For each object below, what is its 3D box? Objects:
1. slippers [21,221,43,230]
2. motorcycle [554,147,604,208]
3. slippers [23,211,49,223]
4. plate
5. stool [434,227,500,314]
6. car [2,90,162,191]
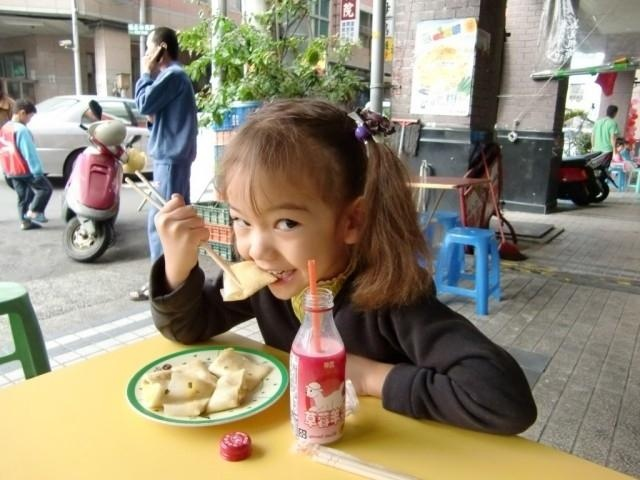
[{"bbox_3d":[-3.737,-0.185,5.830,0.202,0.078,0.104,-7,16,-32],"label":"slippers"},{"bbox_3d":[5.490,-1.259,9.558,0.854,1.743,0.929,6,12,44],"label":"motorcycle"},{"bbox_3d":[-3.751,-0.300,5.966,0.204,0.089,0.095,11,23,-24],"label":"slippers"},{"bbox_3d":[-0.281,0.342,1.177,0.287,0.149,0.269,-3,4,14],"label":"plate"},{"bbox_3d":[1.381,0.239,4.249,0.610,0.925,0.591,6,11,30],"label":"stool"},{"bbox_3d":[-4.338,-1.885,8.062,2.056,2.077,2.546,5,12,20],"label":"car"}]
